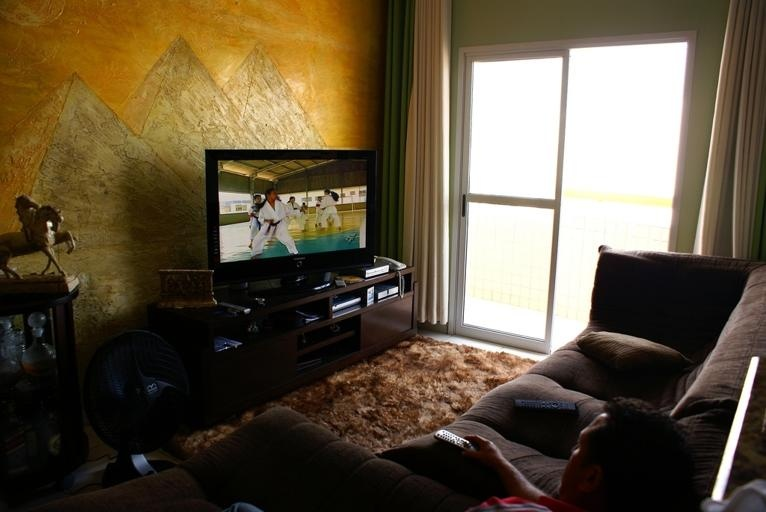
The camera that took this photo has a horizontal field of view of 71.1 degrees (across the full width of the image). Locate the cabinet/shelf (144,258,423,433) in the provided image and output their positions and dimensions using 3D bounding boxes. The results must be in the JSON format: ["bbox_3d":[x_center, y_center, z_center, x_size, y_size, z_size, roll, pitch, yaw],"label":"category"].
[{"bbox_3d":[-0.594,0.519,4.198,0.565,0.656,2.071,14,18,40],"label":"cabinet/shelf"}]

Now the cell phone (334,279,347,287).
[{"bbox_3d":[-0.331,0.200,4.128,0.044,0.057,0.082,-43,-21,24],"label":"cell phone"}]

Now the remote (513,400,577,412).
[{"bbox_3d":[0.869,0.796,2.866,0.350,0.035,0.103,0,22,14],"label":"remote"}]

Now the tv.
[{"bbox_3d":[-0.704,-0.254,3.887,1.196,0.774,0.125,-8,13,-36],"label":"tv"}]

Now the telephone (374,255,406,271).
[{"bbox_3d":[0.056,0.036,4.524,0.186,0.047,0.138,18,20,29],"label":"telephone"}]

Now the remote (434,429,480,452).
[{"bbox_3d":[0.319,0.802,2.349,0.147,0.020,0.072,10,12,32],"label":"remote"}]
